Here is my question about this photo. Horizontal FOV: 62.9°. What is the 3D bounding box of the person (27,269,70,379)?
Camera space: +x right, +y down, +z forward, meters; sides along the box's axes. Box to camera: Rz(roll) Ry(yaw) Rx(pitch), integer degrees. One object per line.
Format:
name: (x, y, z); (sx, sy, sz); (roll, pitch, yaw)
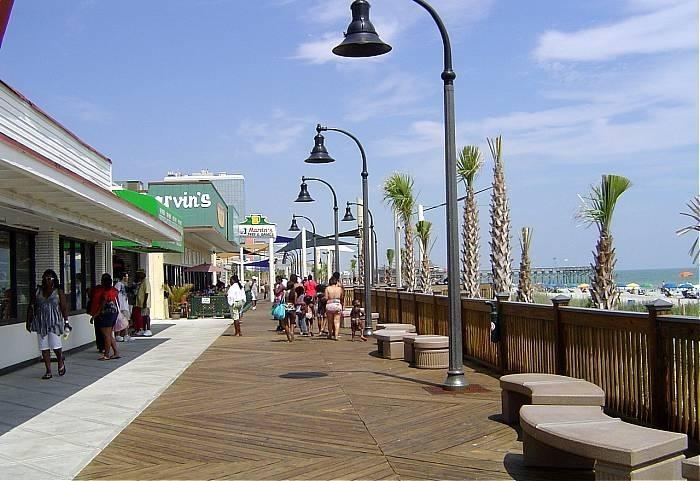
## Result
person: (-6.892, 1.866, 13.074); (0.851, 2.442, 0.680); (2, -6, -24)

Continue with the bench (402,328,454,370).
bench: (1.797, 2.534, 13.119); (0.762, 0.450, 1.232); (1, -3, -11)

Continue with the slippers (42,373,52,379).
slippers: (-6.757, 3.023, 12.809); (0.092, 0.074, 0.176); (-2, -14, -2)

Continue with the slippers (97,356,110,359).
slippers: (-6.803, 3.221, 15.809); (0.272, 0.114, 0.153); (4, -7, -6)

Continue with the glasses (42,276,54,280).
glasses: (-6.846, 0.841, 12.965); (0.195, 0.082, 0.263); (2, -7, -27)

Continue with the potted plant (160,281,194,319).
potted plant: (-9.468, 3.301, 31.980); (1.734, 1.858, 1.782); (-7, -11, 37)

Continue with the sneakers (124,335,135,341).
sneakers: (-7.799, 3.449, 20.333); (0.391, 0.186, 0.155); (2, -1, -4)

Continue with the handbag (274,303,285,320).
handbag: (-2.349, 2.345, 19.229); (0.284, 0.594, 0.582); (21, -17, -28)

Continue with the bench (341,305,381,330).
bench: (0.223, 3.084, 23.046); (1.249, 0.812, 1.287); (1, -4, -7)
